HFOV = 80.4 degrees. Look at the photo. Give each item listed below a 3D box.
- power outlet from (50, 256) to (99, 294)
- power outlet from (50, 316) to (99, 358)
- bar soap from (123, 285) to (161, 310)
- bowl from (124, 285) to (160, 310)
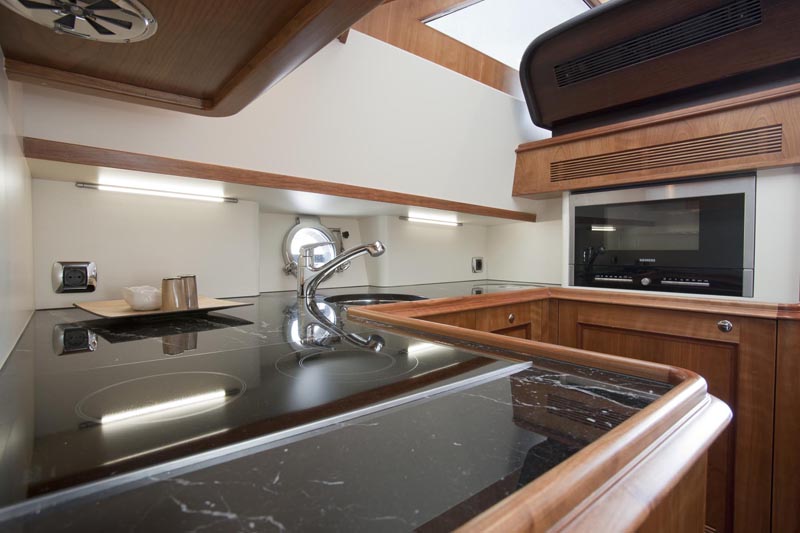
[{"bbox_3d":[-1.120,0.038,1.662,0.179,0.159,0.105,-1,0,-36],"label":"power outlet"},{"bbox_3d":[-0.936,0.204,1.351,0.106,0.025,0.114,13,12,27],"label":"power outlet"},{"bbox_3d":[-0.867,0.100,1.610,0.079,0.053,0.101,3,-4,-41],"label":"bar soap"},{"bbox_3d":[-0.876,0.103,1.600,0.079,0.054,0.099,3,-5,-41],"label":"bowl"}]
